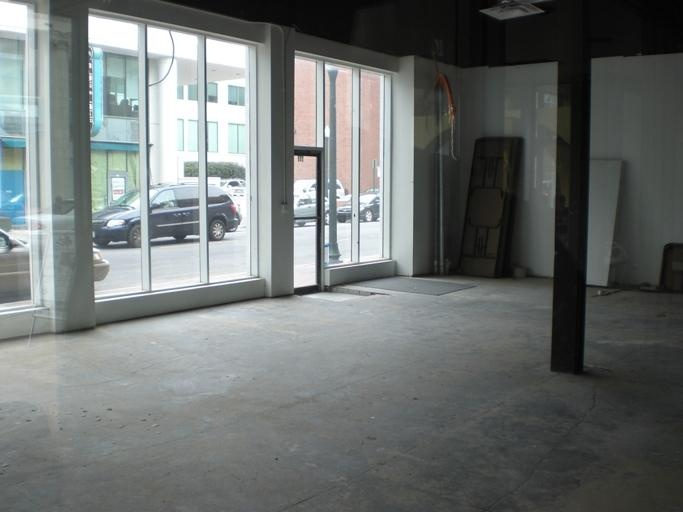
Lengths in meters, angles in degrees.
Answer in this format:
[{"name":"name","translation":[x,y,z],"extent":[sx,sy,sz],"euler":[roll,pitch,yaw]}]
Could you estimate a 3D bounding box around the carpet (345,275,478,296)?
[{"name":"carpet","translation":[1.216,0.481,8.357],"extent":[1.720,0.050,1.302],"euler":[4,8,28]}]
